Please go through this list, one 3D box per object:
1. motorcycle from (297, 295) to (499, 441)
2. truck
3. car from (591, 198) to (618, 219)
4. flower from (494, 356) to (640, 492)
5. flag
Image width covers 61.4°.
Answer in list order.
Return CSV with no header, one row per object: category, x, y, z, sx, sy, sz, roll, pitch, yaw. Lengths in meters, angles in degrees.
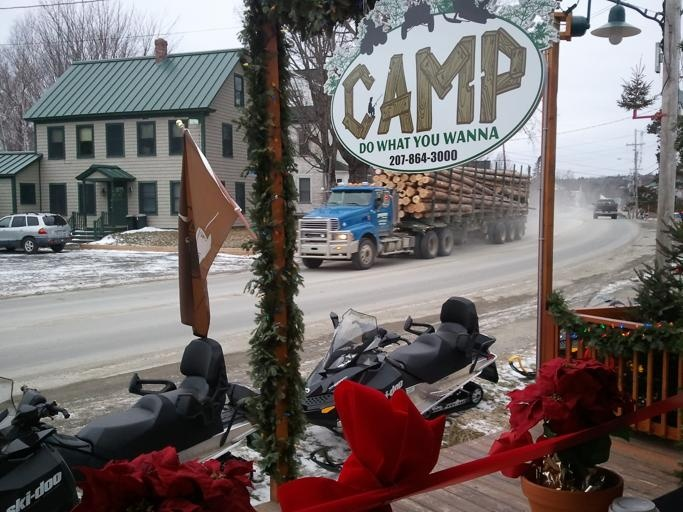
motorcycle,0.724,1.225,6.617,2.469,1.367,1.041,-7,4,-29
truck,3.565,-1.775,21.652,1.944,3.714,11.875,0,4,43
car,21.003,-3.868,45.710,1.154,1.014,2.454,-1,2,32
flower,1.228,0.954,3.235,0.820,0.687,0.372,-4,3,-18
flag,-1.070,-0.152,4.701,0.680,1.763,0.094,-1,1,24
